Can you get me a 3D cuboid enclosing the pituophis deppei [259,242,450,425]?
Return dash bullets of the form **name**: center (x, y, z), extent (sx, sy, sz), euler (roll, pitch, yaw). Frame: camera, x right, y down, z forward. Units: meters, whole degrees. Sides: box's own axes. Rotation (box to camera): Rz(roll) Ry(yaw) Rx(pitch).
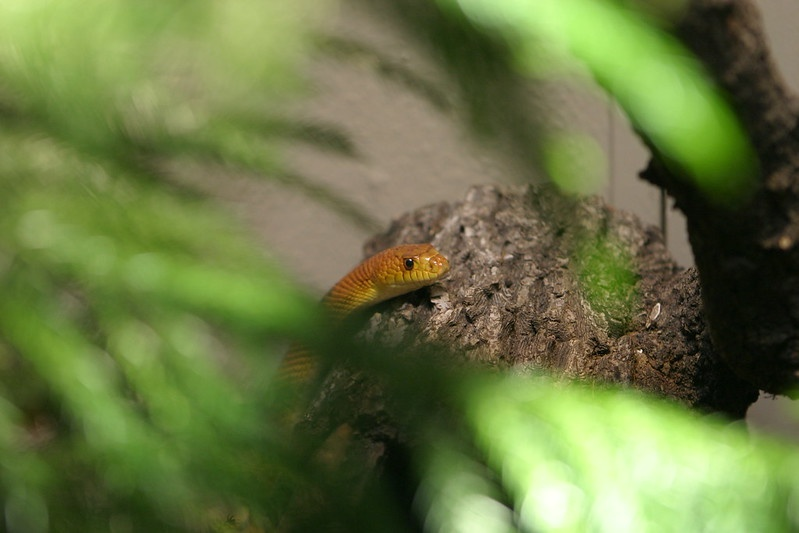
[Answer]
- **pituophis deppei**: center (-0.080, 0.077, 0.890), extent (0.258, 0.072, 0.099), euler (-30, -78, 20)
